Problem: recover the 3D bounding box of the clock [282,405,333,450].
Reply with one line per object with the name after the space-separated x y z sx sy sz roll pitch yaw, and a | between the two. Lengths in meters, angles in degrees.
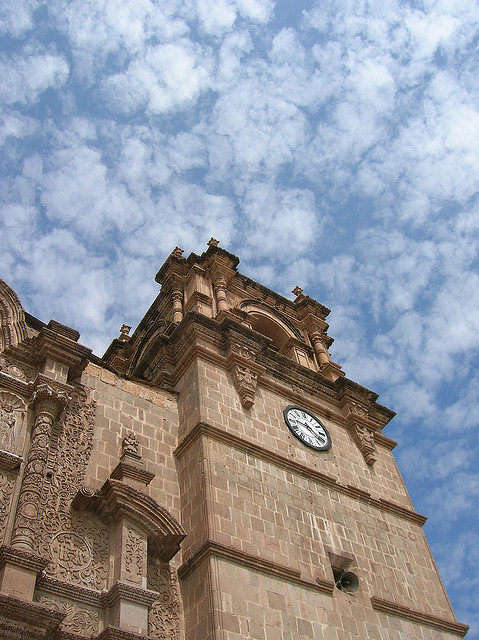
1.672 2.739 19.918 1.109 1.009 0.109 26 -60 -35 | clock
